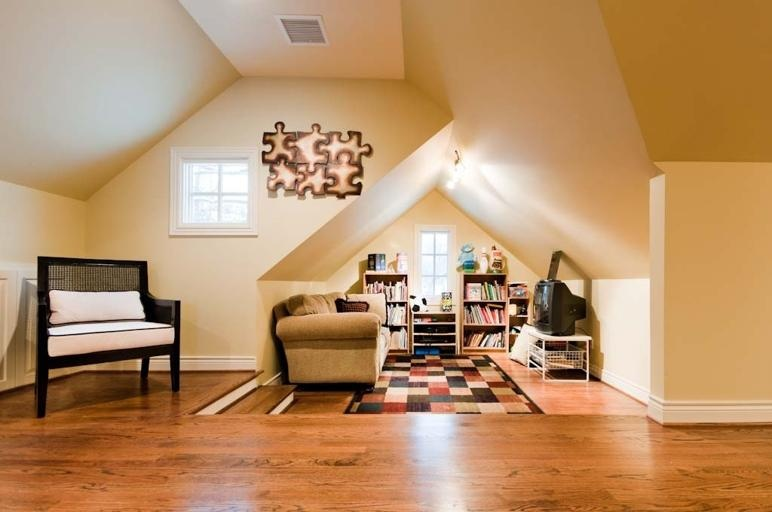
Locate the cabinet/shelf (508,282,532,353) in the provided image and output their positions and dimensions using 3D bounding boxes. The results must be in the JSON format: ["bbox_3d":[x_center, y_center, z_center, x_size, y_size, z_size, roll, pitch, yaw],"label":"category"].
[{"bbox_3d":[2.048,0.880,8.964,0.419,0.930,0.456,-1,13,-5],"label":"cabinet/shelf"}]

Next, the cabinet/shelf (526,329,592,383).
[{"bbox_3d":[2.126,1.237,7.166,0.503,0.451,0.899,0,-4,4],"label":"cabinet/shelf"}]

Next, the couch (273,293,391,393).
[{"bbox_3d":[-0.625,0.998,6.680,0.931,0.768,1.756,0,-5,0],"label":"couch"}]

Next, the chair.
[{"bbox_3d":[-2.514,0.653,5.324,1.062,1.344,0.782,0,-6,-35],"label":"chair"}]

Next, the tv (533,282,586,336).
[{"bbox_3d":[2.045,0.659,7.239,0.587,0.703,0.774,0,-4,0],"label":"tv"}]

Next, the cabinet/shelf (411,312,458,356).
[{"bbox_3d":[0.738,1.203,8.876,0.613,0.547,0.211,0,-9,0],"label":"cabinet/shelf"}]
